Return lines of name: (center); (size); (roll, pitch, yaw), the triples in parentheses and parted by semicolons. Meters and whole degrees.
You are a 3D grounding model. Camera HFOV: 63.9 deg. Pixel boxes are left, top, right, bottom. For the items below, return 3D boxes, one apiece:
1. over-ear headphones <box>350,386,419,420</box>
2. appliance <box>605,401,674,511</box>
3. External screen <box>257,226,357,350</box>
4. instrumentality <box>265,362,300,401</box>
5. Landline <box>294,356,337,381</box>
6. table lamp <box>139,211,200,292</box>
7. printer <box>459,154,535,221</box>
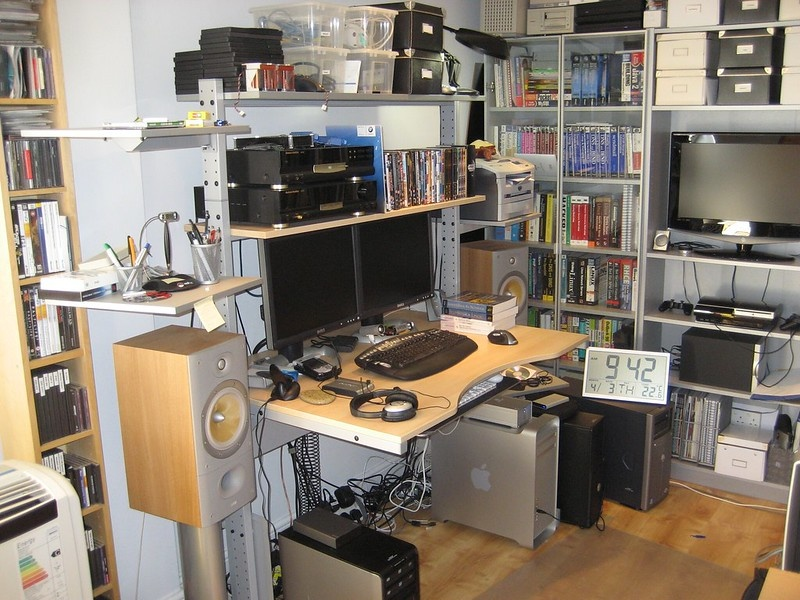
over-ear headphones: (-0.052, 0.372, 2.264); (0.149, 0.044, 0.117); (-4, 19, -1)
appliance: (1.334, 0.868, 3.518); (0.414, 0.600, 0.199); (-4, 17, -6)
External screen: (-0.371, -0.064, 2.556); (0.052, 0.397, 0.498); (4, 13, 37)
instrumentality: (-0.429, 0.313, 2.420); (0.089, 0.130, 0.141); (9, 15, 31)
Landline: (-0.331, 0.278, 2.575); (0.115, 0.032, 0.090); (20, 28, 36)
table lamp: (-0.820, -0.187, 2.238); (0.179, 0.250, 0.445); (-8, 16, -18)
printer: (0.570, -0.592, 3.476); (0.368, 0.336, 0.507); (5, 14, 29)
